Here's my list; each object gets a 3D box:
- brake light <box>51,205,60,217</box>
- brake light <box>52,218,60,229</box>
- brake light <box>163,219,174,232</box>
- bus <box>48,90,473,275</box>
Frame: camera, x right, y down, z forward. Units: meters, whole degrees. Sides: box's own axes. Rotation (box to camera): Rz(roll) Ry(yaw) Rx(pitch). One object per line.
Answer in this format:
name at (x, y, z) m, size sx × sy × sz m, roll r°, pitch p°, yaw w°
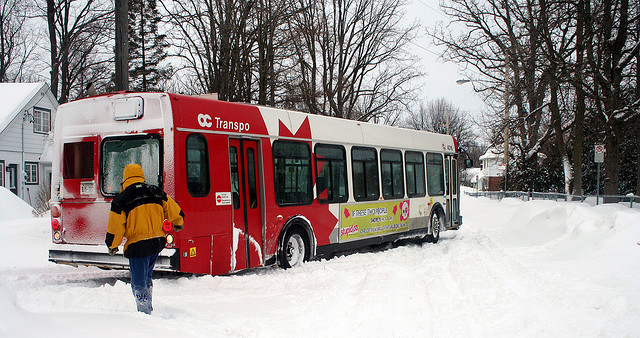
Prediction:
brake light at (-8.352, 1.308, 14.760) m, size 0.319 × 0.325 × 0.172 m, roll 12°, pitch 18°, yaw 33°
brake light at (-8.292, 1.703, 14.695) m, size 0.248 × 0.301 × 0.105 m, roll 9°, pitch 16°, yaw 24°
brake light at (-4.185, 1.536, 12.730) m, size 0.287 × 0.274 × 0.065 m, roll 7°, pitch -16°, yaw -35°
bus at (0.428, 0.193, 20.574) m, size 5.770 × 5.105 × 20.177 m, roll -1°, pitch 1°, yaw 43°
